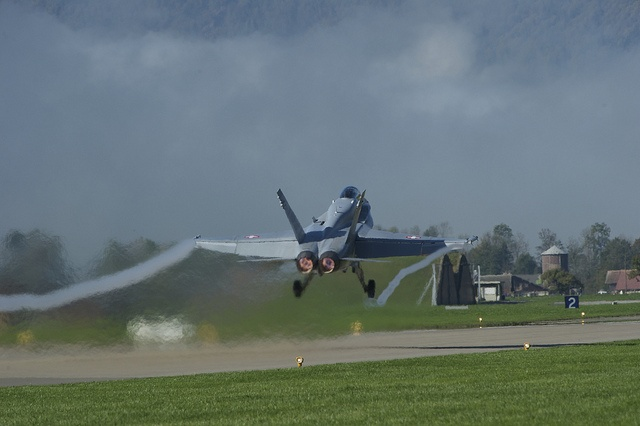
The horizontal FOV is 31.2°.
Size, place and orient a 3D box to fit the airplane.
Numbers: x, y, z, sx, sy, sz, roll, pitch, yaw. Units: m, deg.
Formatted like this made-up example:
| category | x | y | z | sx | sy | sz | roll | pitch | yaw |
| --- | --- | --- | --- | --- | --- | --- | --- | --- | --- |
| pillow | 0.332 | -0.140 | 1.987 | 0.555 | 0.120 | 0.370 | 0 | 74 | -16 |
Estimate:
| category | x | y | z | sx | sy | sz | roll | pitch | yaw |
| --- | --- | --- | --- | --- | --- | --- | --- | --- | --- |
| airplane | 0.875 | 1.763 | 73.210 | 10.710 | 4.846 | 9.174 | 0 | 18 | 11 |
